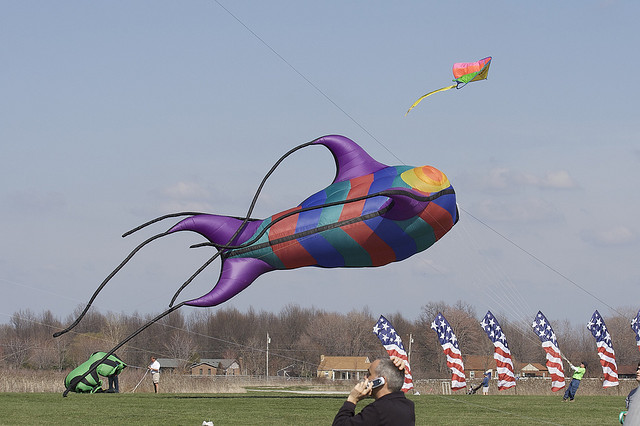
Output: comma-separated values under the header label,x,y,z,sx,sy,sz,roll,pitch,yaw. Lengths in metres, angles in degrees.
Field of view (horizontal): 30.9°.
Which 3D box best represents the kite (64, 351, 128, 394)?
label,x,y,z,sx,sy,sz,roll,pitch,yaw
kite,-13.840,10.185,72.497,2.274,2.574,3.876,-7,-3,40
